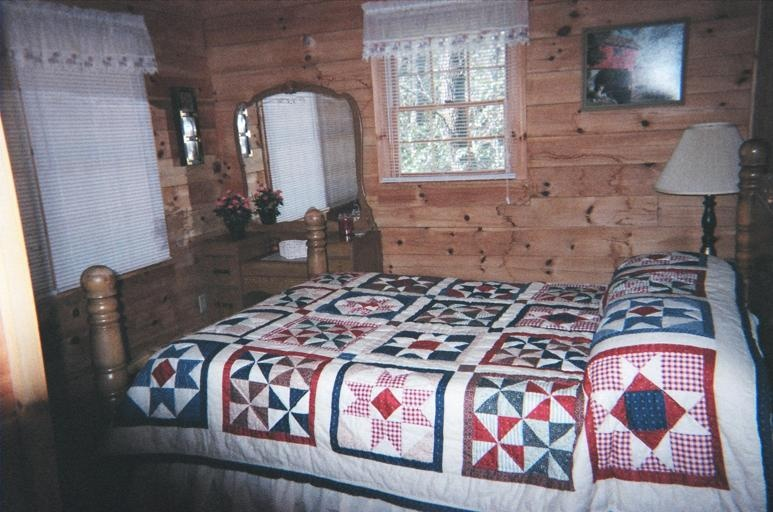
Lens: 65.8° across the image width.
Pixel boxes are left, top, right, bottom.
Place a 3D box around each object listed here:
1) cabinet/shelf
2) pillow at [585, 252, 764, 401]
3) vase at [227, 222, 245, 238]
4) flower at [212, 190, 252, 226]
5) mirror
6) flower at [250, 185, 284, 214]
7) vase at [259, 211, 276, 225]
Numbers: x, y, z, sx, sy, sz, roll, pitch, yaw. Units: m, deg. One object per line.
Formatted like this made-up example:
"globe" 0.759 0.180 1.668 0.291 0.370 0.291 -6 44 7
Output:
"cabinet/shelf" -0.709 0.148 4.654 1.091 0.760 0.342 0 9 9
"pillow" 1.628 0.335 3.219 0.652 0.209 0.852 1 23 35
"vase" -1.330 -0.230 5.308 0.171 0.096 0.147 0 3 2
"flower" -1.323 -0.420 5.367 0.355 0.238 0.321 11 20 8
"mirror" -0.756 -0.916 5.384 0.065 1.279 1.573 16 26 40
"flower" -1.089 -0.510 5.425 0.305 0.195 0.241 2 10 -6
"vase" -1.089 -0.342 5.486 0.142 0.075 0.117 1 -14 -3
